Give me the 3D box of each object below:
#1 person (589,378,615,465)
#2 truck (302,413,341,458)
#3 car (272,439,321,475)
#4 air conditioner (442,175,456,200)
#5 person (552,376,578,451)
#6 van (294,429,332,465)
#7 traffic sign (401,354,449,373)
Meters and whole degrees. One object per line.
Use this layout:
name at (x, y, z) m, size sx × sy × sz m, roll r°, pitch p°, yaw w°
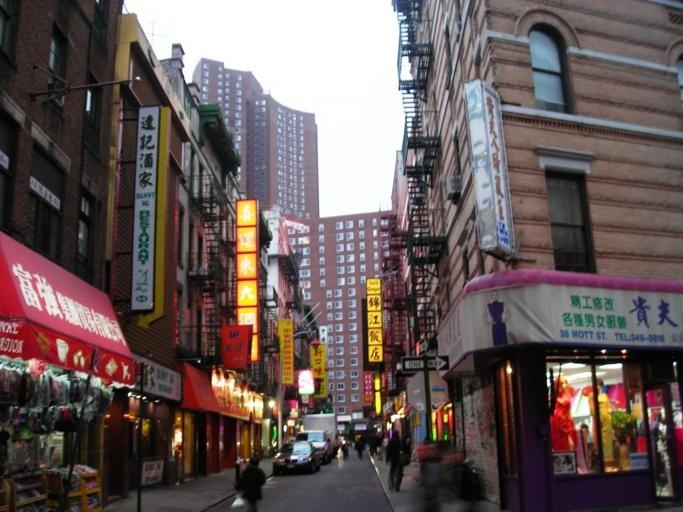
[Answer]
person at (7.034, 4.434, 18.748) m, size 0.555 × 2.371 × 0.159 m, roll 5°, pitch -20°, yaw -26°
truck at (-1.649, 12.847, 51.288) m, size 2.169 × 3.006 × 4.791 m, roll -1°, pitch -11°, yaw 5°
car at (-2.282, 9.828, 34.607) m, size 1.809 × 1.717 × 2.864 m, roll -7°, pitch -21°, yaw 7°
air conditioner at (3.787, -2.432, 24.548) m, size 0.423 × 0.667 × 0.891 m, roll -5°, pitch -41°, yaw 6°
person at (5.887, 4.178, 18.574) m, size 0.998 × 1.865 × 0.277 m, roll 8°, pitch -21°, yaw -33°
van at (-1.568, 11.329, 42.853) m, size 1.705 × 1.499 × 3.538 m, roll -3°, pitch -24°, yaw 2°
traffic sign at (2.559, 3.218, 21.449) m, size 1.461 × 0.568 × 1.020 m, roll 1°, pitch -21°, yaw -17°
